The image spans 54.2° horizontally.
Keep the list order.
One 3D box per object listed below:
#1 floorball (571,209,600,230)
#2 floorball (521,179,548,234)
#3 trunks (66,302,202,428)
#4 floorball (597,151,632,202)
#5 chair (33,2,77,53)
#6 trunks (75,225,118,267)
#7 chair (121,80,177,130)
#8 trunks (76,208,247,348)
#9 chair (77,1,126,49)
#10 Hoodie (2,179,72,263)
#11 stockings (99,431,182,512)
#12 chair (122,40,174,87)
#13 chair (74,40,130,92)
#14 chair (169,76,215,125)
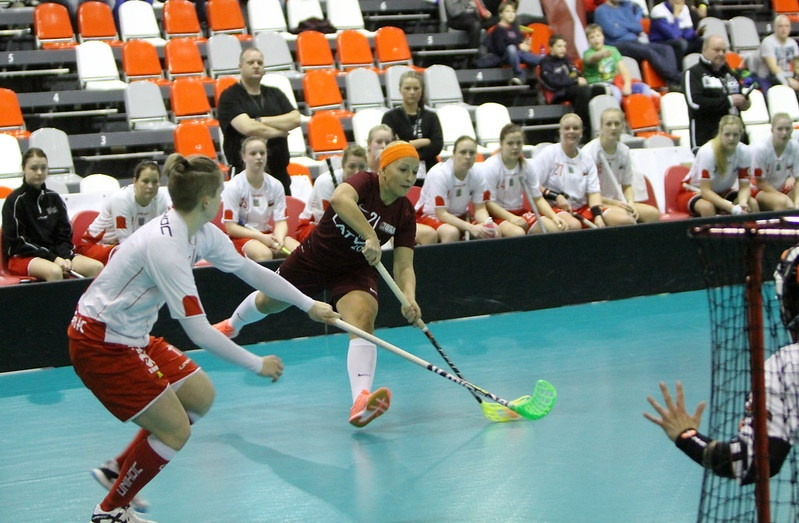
[{"bbox_3d":[1.775,-0.412,7.564,0.361,0.081,0.070,37,34,22],"label":"floorball"},{"bbox_3d":[1.291,-0.511,7.496,0.077,0.574,0.066,-20,-19,3],"label":"floorball"},{"bbox_3d":[-1.364,0.577,4.121,0.529,0.548,0.669,-12,-3,-13],"label":"trunks"},{"bbox_3d":[2.168,-0.862,7.932,0.079,0.581,0.082,-17,17,46],"label":"floorball"},{"bbox_3d":[-4.444,-3.028,10.050,0.484,0.600,0.469,-8,16,-24],"label":"chair"},{"bbox_3d":[-2.461,-0.129,6.429,0.244,0.300,0.121,20,57,7],"label":"trunks"},{"bbox_3d":[-2.994,-1.827,9.308,0.527,0.600,0.487,-14,19,-38],"label":"chair"},{"bbox_3d":[-1.153,0.069,4.094,0.714,0.688,0.607,18,10,-8],"label":"trunks"},{"bbox_3d":[-4.009,-3.159,10.573,0.574,0.814,0.613,-9,12,-33],"label":"chair"},{"bbox_3d":[-2.970,-0.302,6.356,0.602,0.761,0.577,-1,-2,45],"label":"Hoodie"},{"bbox_3d":[-1.286,1.041,3.829,0.389,0.187,0.547,-47,1,-17],"label":"stockings"},{"bbox_3d":[-3.267,-2.387,9.951,0.487,0.610,0.697,-11,-28,-15],"label":"chair"},{"bbox_3d":[-3.721,-2.421,9.633,0.546,0.666,0.604,-7,6,-13],"label":"chair"},{"bbox_3d":[-2.603,-1.988,9.637,0.460,0.473,0.392,-9,17,-22],"label":"chair"}]
